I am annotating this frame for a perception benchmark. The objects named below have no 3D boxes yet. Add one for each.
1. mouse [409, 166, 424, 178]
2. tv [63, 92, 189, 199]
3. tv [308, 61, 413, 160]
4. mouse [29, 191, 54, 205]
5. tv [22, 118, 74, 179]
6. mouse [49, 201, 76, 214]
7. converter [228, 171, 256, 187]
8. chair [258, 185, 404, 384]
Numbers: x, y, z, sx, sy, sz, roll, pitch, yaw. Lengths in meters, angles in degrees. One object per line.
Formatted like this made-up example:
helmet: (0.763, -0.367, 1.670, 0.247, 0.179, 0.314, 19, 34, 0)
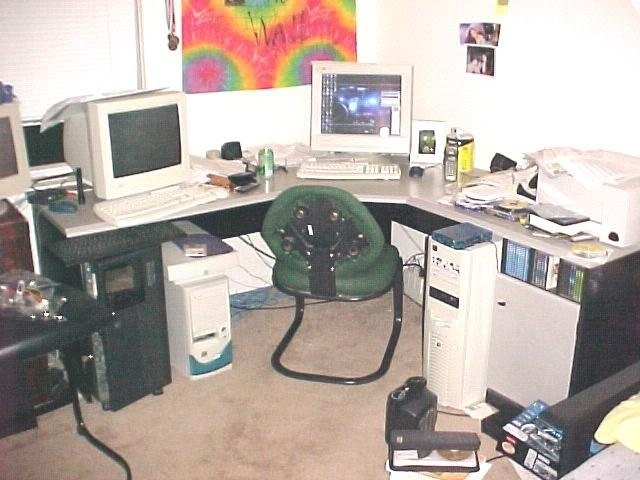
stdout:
mouse: (0.539, -0.385, 3.063, 0.065, 0.024, 0.062, 2, 47, 12)
tv: (-0.945, -0.457, 2.782, 0.517, 0.450, 0.593, -19, 37, -36)
tv: (0.232, -0.753, 3.385, 0.604, 0.511, 0.350, 1, -8, -3)
mouse: (-1.400, -0.228, 2.792, 0.132, 0.073, 0.090, 3, 15, 9)
tv: (-1.416, -0.471, 2.884, 0.266, 0.251, 0.177, -6, 9, -14)
mouse: (-1.244, -0.158, 2.647, 0.108, 0.028, 0.077, 9, 27, 6)
converter: (-0.404, -0.334, 2.882, 0.109, 0.032, 0.083, -16, 32, -23)
chair: (0.066, 0.124, 2.841, 0.743, 1.000, 0.749, 18, 26, 41)
